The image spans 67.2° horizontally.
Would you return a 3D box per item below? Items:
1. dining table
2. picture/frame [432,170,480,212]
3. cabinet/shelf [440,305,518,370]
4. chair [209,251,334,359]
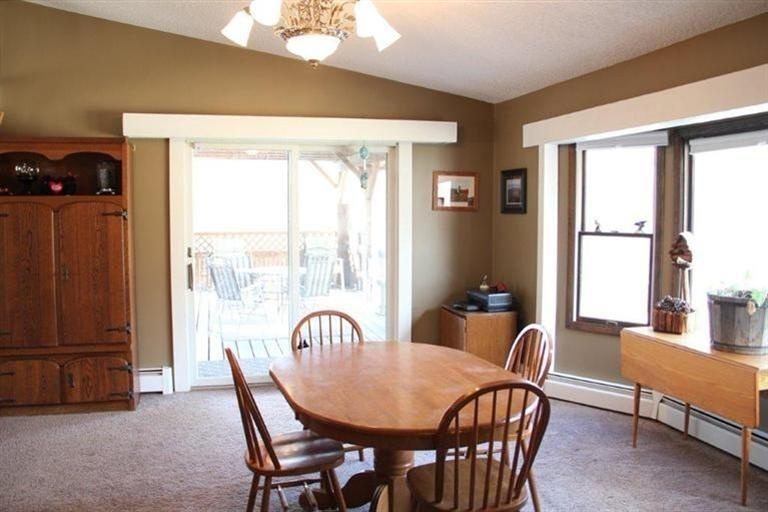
[{"bbox_3d":[0.034,0.898,3.814,1.143,0.748,1.606,-4,8,-21],"label":"dining table"},{"bbox_3d":[0.731,-0.705,6.153,0.503,0.374,0.034,1,1,-7],"label":"picture/frame"},{"bbox_3d":[0.931,0.746,6.106,0.583,0.764,0.829,1,4,-21],"label":"cabinet/shelf"},{"bbox_3d":[-1.205,0.465,6.169,1.169,0.652,1.085,-2,5,-24],"label":"chair"}]
